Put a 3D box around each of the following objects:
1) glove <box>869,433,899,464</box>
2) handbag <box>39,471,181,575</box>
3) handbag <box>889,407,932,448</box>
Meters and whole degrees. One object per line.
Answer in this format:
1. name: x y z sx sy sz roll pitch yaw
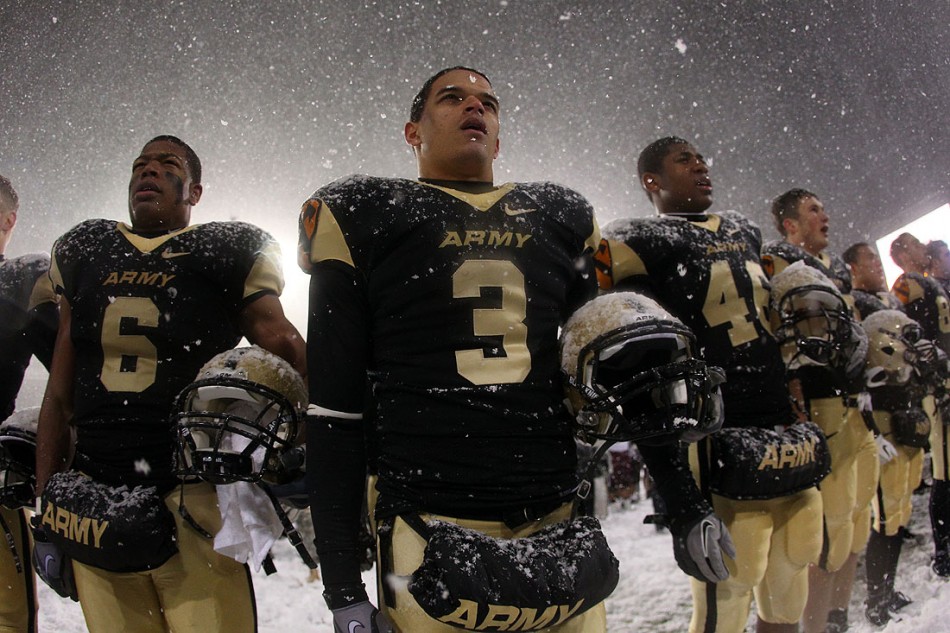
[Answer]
1. glove: 3.038 1.022 6.596 0.186 0.230 0.078 -42 -6 -45
2. handbag: -1.989 1.102 4.767 0.734 0.541 0.199 -5 -11 13
3. handbag: 3.395 0.913 6.867 0.251 0.325 0.318 5 -41 6
